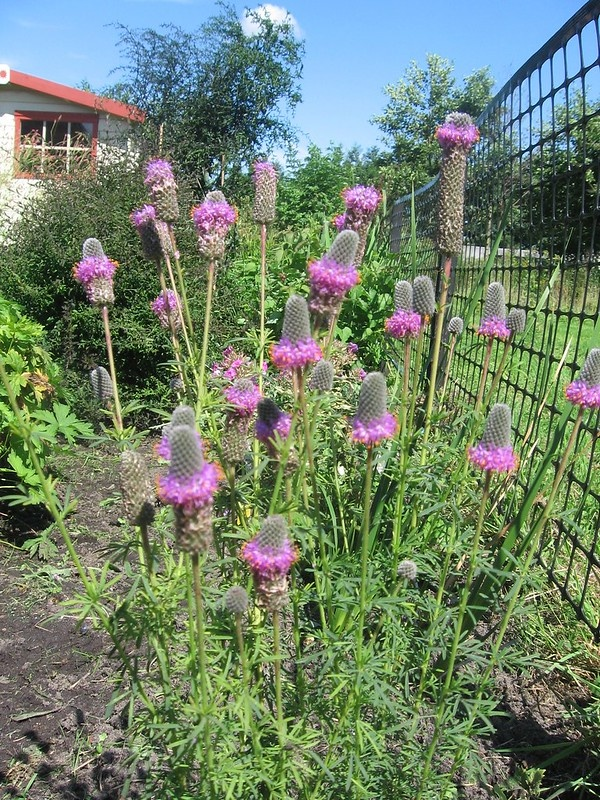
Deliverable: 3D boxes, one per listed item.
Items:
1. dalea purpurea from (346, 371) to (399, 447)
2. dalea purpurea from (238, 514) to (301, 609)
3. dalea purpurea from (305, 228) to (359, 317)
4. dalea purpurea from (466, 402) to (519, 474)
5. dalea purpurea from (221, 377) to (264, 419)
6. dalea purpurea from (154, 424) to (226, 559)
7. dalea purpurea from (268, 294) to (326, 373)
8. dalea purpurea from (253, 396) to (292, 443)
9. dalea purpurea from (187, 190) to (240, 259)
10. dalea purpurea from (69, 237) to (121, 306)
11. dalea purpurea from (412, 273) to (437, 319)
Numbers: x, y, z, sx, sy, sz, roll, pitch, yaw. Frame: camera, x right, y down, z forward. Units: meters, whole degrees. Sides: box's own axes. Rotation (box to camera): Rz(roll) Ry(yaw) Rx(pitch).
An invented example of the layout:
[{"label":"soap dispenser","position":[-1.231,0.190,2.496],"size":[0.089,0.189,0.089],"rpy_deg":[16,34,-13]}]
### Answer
[{"label":"dalea purpurea","position":[0.200,0.031,1.855],"size":[0.111,0.221,0.207],"rpy_deg":[6,14,7]},{"label":"dalea purpurea","position":[-0.076,0.400,1.793],"size":[0.137,0.271,0.192],"rpy_deg":[4,14,0]},{"label":"dalea purpurea","position":[0.102,-0.343,1.918],"size":[0.175,0.244,0.159],"rpy_deg":[-2,15,-22]},{"label":"dalea purpurea","position":[0.536,0.110,1.934],"size":[0.123,0.224,0.146],"rpy_deg":[8,15,14]},{"label":"dalea purpurea","position":[-0.165,-0.017,2.181],"size":[0.132,0.132,0.126],"rpy_deg":[14,19,5]},{"label":"dalea purpurea","position":[-0.260,0.212,1.624],"size":[0.140,0.362,0.183],"rpy_deg":[3,14,-7]},{"label":"dalea purpurea","position":[-0.001,-0.175,1.907],"size":[0.121,0.224,0.200],"rpy_deg":[5,14,1]},{"label":"dalea purpurea","position":[-0.079,0.061,2.040],"size":[0.095,0.144,0.082],"rpy_deg":[-6,51,4]},{"label":"dalea purpurea","position":[-0.323,-0.653,2.609],"size":[0.161,0.260,0.276],"rpy_deg":[2,14,-8]},{"label":"dalea purpurea","position":[-0.813,-0.501,2.775],"size":[0.151,0.280,0.405],"rpy_deg":[0,14,-17]},{"label":"dalea purpurea","position":[0.420,-0.349,2.389],"size":[0.078,0.146,0.137],"rpy_deg":[6,14,8]}]
